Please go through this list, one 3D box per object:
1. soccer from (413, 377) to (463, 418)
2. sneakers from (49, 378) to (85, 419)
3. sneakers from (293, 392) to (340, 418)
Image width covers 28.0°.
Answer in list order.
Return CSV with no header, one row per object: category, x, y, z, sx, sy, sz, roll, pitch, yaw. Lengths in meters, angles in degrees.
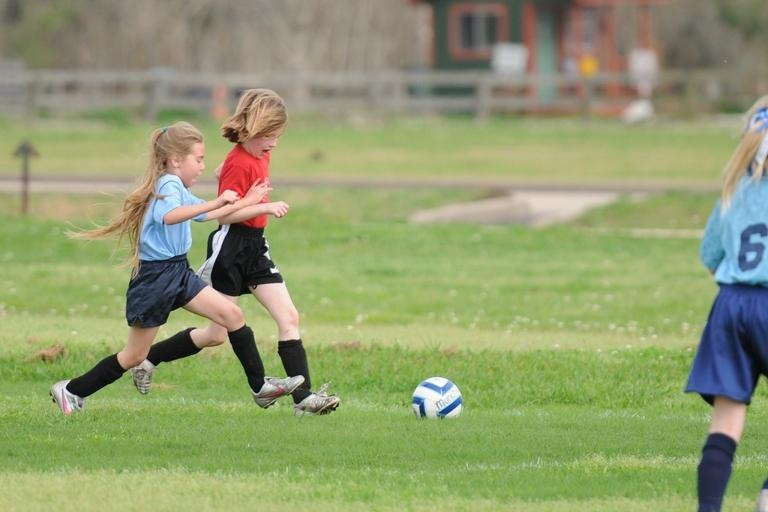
soccer,0.512,1.338,14.545,0.441,0.344,0.387,2,-4,-9
sneakers,-2.953,1.324,14.286,0.223,0.434,0.170,-13,24,33
sneakers,-0.613,1.393,14.499,0.448,0.162,0.177,-12,-2,14
